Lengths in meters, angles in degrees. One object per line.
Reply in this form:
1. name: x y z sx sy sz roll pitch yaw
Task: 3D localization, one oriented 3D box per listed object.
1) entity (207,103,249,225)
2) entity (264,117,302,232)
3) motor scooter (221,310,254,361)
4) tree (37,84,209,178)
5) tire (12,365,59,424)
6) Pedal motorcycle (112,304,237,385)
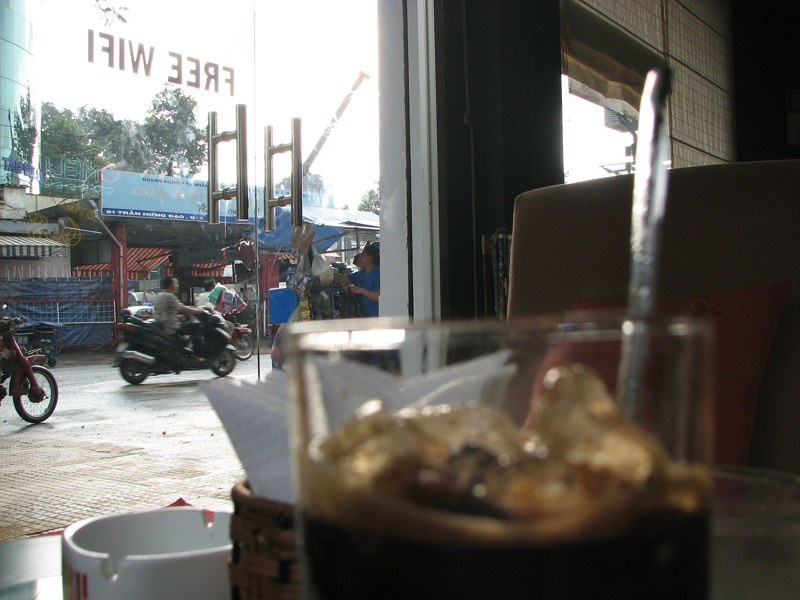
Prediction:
1. entity: -0.590 -0.465 2.400 0.138 0.393 0.208 0 7 -13
2. entity: -0.412 -0.443 2.500 0.216 0.386 0.151 5 8 28
3. motor scooter: -1.683 0.397 6.874 0.459 0.328 0.275 -6 3 -24
4. tree: -1.045 -0.629 2.681 0.476 0.264 0.381 20 -7 -11
5. tire: -2.200 0.576 4.189 0.084 0.300 0.301 -9 -12 20
6. Pedal motorcycle: -1.973 0.419 6.328 1.113 0.700 0.513 -1 1 -39
